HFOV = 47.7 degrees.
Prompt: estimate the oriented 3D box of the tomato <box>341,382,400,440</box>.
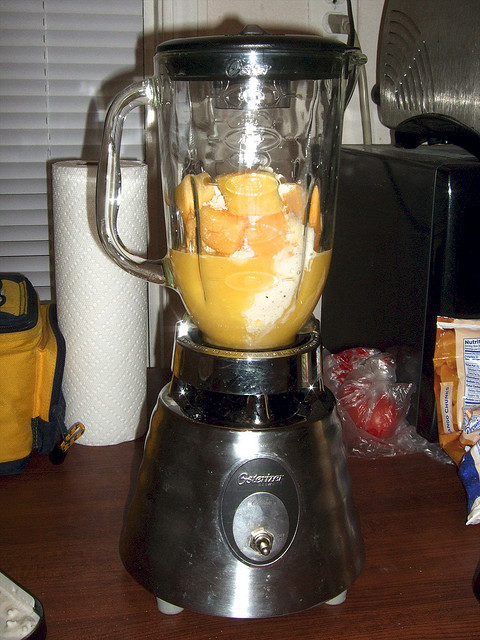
[{"bbox_3d":[0.166,0.109,0.701,0.056,0.048,0.069,-2,17,-14],"label":"tomato"}]
